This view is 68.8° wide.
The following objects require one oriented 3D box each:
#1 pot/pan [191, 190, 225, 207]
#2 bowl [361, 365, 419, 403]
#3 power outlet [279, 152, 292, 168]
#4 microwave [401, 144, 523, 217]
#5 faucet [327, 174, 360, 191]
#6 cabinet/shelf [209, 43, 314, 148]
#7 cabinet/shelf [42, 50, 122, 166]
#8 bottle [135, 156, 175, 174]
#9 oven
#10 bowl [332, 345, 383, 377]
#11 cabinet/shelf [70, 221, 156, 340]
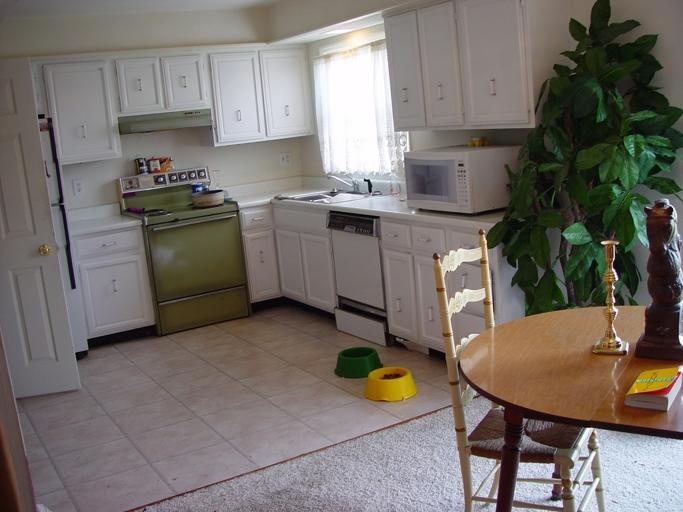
[{"bbox_3d":[-1.405,-0.602,5.244,0.240,0.091,0.220,2,15,15],"label":"pot/pan"},{"bbox_3d":[0.335,0.901,3.466,0.257,0.097,0.252,-2,5,0],"label":"bowl"},{"bbox_3d":[-0.705,-1.188,6.147,0.190,0.177,0.019,-7,14,-28],"label":"power outlet"},{"bbox_3d":[0.914,-0.582,3.830,0.563,0.415,0.737,-11,14,-32],"label":"microwave"},{"bbox_3d":[0.013,-0.814,5.494,0.167,0.184,0.617,-12,15,-23],"label":"faucet"},{"bbox_3d":[-0.929,-1.832,5.544,1.119,0.894,0.382,-10,14,-29],"label":"cabinet/shelf"},{"bbox_3d":[-2.713,-1.484,4.931,0.478,1.004,0.623,34,39,27],"label":"cabinet/shelf"},{"bbox_3d":[-2.004,-0.970,5.337,0.372,0.191,0.175,-2,3,-18],"label":"bottle"},{"bbox_3d":[-1.558,0.102,5.706,1.220,1.371,1.120,-8,7,-30],"label":"oven"},{"bbox_3d":[0.112,0.823,3.832,0.266,0.103,0.264,0,6,0],"label":"bowl"},{"bbox_3d":[-2.410,0.210,5.071,0.763,1.034,0.823,5,14,39],"label":"cabinet/shelf"}]
